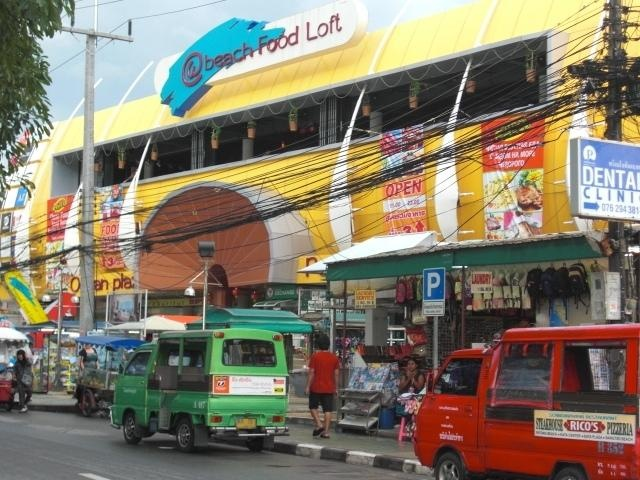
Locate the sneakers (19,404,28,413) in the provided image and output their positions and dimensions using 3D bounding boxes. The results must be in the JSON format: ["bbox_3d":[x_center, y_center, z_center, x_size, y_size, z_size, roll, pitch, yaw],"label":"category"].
[{"bbox_3d":[-8.878,5.075,35.226,0.201,0.221,0.423,1,-12,-12],"label":"sneakers"}]

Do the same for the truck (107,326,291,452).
[{"bbox_3d":[-2.756,3.477,27.229,2.282,2.327,3.828,7,-8,-40],"label":"truck"}]

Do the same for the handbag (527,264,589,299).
[{"bbox_3d":[5.592,1.003,27.695,0.876,0.892,1.159,-1,-5,-37],"label":"handbag"}]

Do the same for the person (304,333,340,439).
[{"bbox_3d":[0.071,3.518,28.110,0.735,2.512,0.606,1,1,-13],"label":"person"}]
